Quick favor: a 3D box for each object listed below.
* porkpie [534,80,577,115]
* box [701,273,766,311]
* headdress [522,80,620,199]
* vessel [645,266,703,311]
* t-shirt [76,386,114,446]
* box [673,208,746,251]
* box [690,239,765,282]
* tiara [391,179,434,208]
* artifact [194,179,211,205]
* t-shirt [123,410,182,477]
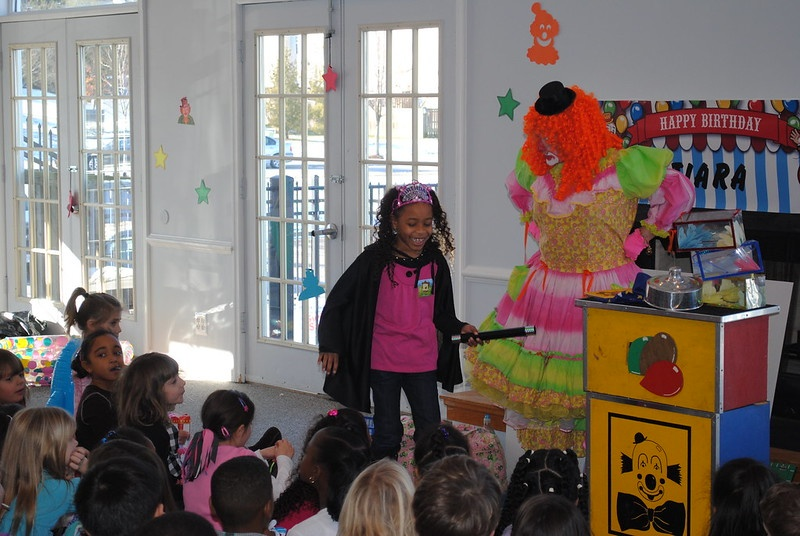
[{"bbox_3d":[0.659,-0.725,2.911,0.173,0.120,0.120,1,1,11],"label":"porkpie"},{"bbox_3d":[1.250,0.083,2.582,0.214,0.115,0.222,-6,-2,37],"label":"box"},{"bbox_3d":[0.726,-0.545,2.974,0.453,0.437,0.285,1,1,19],"label":"headdress"},{"bbox_3d":[1.017,0.061,2.533,0.197,0.128,0.205,11,24,35],"label":"vessel"},{"bbox_3d":[-1.399,0.685,3.140,0.134,0.193,0.249,1,2,-8],"label":"t-shirt"},{"bbox_3d":[1.194,-0.148,2.634,0.186,0.112,0.192,-2,6,23],"label":"box"},{"bbox_3d":[1.227,-0.027,2.555,0.199,0.158,0.076,3,-9,6],"label":"box"},{"bbox_3d":[0.060,-0.341,3.134,0.176,0.094,0.109,1,1,5],"label":"tiara"},{"bbox_3d":[-1.512,-0.590,5.252,0.152,0.179,0.035,2,1,34],"label":"artifact"},{"bbox_3d":[-1.113,0.849,3.092,0.275,0.337,0.235,0,1,-29],"label":"t-shirt"}]
